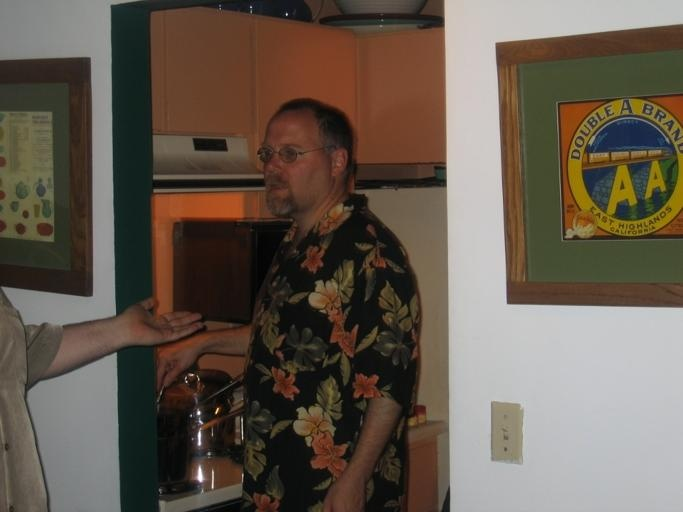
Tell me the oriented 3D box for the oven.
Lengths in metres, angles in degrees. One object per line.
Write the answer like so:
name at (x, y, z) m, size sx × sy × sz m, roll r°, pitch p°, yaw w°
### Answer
oven at (-0.440, 0.109, 2.306) m, size 0.649 × 0.491 × 0.386 m, roll -5°, pitch -4°, yaw -22°
